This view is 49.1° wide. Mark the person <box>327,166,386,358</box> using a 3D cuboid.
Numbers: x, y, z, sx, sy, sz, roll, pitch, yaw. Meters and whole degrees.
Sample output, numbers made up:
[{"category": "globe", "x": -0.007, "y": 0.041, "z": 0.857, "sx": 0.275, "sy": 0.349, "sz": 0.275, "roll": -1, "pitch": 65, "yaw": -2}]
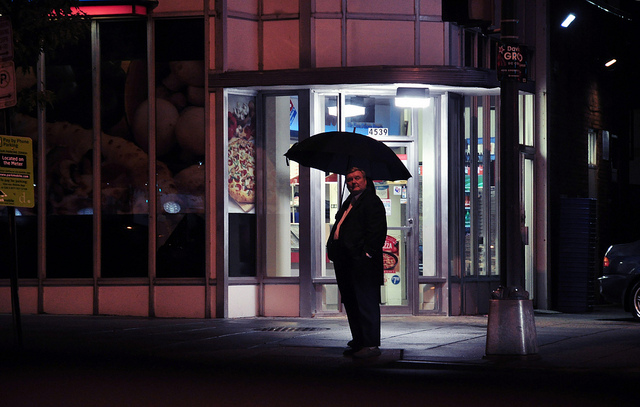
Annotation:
[{"category": "person", "x": 0.597, "y": 0.893, "z": 11.129, "sx": 0.898, "sy": 2.995, "sz": 0.597, "roll": -2, "pitch": -3, "yaw": 9}]

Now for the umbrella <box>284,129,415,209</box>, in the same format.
[{"category": "umbrella", "x": 0.389, "y": -0.603, "z": 12.370, "sx": 2.007, "sy": 1.483, "sz": 2.138, "roll": 4, "pitch": 6, "yaw": 28}]
